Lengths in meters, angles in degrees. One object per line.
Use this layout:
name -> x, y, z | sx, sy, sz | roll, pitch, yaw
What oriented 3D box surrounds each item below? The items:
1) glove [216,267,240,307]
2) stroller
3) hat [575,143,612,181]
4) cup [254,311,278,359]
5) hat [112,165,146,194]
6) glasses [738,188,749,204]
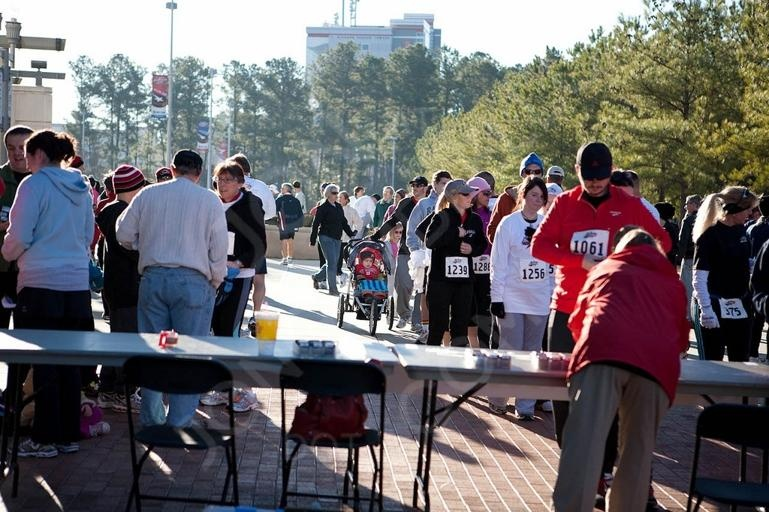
glove -> -1.529, 0.293, 7.293 | 0.235, 0.293, 0.192 | 9, -18, 34
stroller -> -0.262, 0.439, 11.984 | 0.737, 1.456, 1.469 | 1, 7, -8
hat -> 1.642, -0.772, 5.839 | 0.249, 0.220, 0.421 | -2, 48, 18
cup -> -0.881, 0.563, 5.543 | 0.160, 0.305, 0.292 | 2, 3, -10
hat -> -2.546, -0.709, 7.364 | 0.258, 0.227, 0.283 | -21, 24, 14
glasses -> 3.525, -0.590, 7.360 | 0.076, 0.123, 0.058 | 5, 1, -9
